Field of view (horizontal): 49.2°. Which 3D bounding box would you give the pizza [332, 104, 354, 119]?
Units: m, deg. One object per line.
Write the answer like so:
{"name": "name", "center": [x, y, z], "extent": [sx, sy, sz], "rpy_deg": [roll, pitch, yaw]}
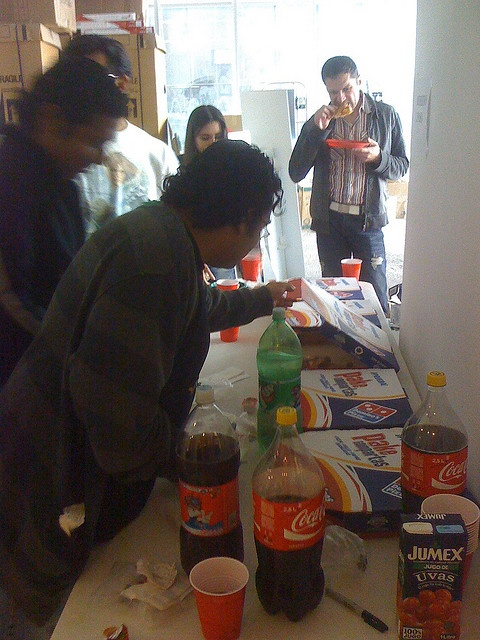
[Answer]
{"name": "pizza", "center": [0.546, -1.113, 2.780], "extent": [0.092, 0.064, 0.123], "rpy_deg": [5, 18, 29]}

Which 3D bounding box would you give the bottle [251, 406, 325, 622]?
{"name": "bottle", "center": [0.058, 0.243, 0.633], "extent": [0.085, 0.236, 0.117], "rpy_deg": [-2, 13, 5]}

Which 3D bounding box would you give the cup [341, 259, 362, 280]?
{"name": "cup", "center": [0.478, -0.219, 2.240], "extent": [0.079, 0.124, 0.101], "rpy_deg": [-2, 14, 1]}

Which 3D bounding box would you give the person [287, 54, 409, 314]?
{"name": "person", "center": [0.617, -0.609, 3.049], "extent": [0.491, 1.723, 0.492], "rpy_deg": [9, 33, 28]}

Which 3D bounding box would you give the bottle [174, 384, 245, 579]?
{"name": "bottle", "center": [-0.043, 0.228, 0.691], "extent": [0.090, 0.232, 0.157], "rpy_deg": [-4, 14, -3]}

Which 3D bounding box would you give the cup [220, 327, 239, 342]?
{"name": "cup", "center": [-0.035, 0.049, 1.683], "extent": [0.041, 0.059, 0.041], "rpy_deg": [-1, 9, 0]}

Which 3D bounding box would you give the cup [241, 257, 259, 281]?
{"name": "cup", "center": [0.042, -0.212, 2.202], "extent": [0.065, 0.108, 0.086], "rpy_deg": [-1, 22, 2]}
